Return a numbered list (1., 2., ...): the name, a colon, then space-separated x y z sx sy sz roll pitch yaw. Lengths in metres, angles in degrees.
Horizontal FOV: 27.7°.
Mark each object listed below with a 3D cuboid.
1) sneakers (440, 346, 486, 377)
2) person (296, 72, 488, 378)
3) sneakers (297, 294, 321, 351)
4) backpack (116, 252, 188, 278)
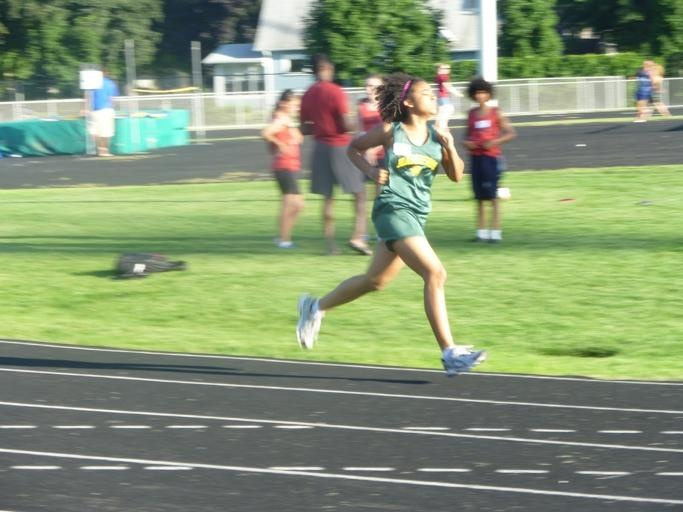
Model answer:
1. sneakers: 1.055 0.920 12.262 0.338 0.265 0.261 -3 5 -8
2. person: 0.425 -0.298 12.583 1.548 2.718 1.059 -3 5 1
3. sneakers: -0.349 0.611 12.929 0.254 0.452 0.253 0 12 -8
4. backpack: -2.239 0.096 16.205 0.602 0.135 0.383 -2 4 -24
